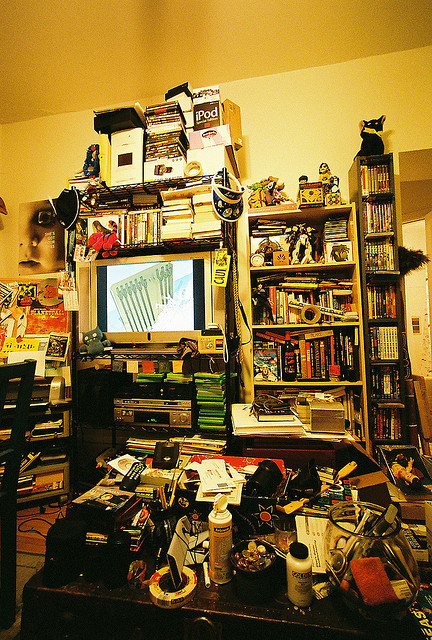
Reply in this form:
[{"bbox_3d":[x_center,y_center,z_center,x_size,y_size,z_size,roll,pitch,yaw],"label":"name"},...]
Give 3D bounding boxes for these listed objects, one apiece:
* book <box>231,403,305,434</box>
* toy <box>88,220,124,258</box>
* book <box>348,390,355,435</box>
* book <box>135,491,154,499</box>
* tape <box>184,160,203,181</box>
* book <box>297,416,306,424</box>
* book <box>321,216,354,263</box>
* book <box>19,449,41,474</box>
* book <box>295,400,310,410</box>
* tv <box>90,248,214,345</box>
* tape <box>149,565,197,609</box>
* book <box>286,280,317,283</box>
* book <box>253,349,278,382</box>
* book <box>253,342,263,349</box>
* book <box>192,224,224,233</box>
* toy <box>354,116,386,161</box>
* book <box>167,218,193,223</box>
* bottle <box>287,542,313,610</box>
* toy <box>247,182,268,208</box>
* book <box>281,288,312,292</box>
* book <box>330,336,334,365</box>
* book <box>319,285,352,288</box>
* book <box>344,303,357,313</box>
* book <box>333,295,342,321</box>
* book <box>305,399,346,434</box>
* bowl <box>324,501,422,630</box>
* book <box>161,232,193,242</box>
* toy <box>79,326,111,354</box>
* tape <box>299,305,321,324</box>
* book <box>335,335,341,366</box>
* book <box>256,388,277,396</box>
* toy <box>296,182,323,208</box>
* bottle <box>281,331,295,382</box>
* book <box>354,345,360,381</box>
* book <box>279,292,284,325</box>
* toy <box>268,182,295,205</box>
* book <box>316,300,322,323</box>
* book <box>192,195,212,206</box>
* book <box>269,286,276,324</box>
[{"bbox_3d":[0.216,0.448,2.360,0.291,0.068,0.410,-1,1,-3],"label":"book"},{"bbox_3d":[-0.544,-0.391,2.507,0.161,0.166,0.054,20,1,3],"label":"toy"},{"bbox_3d":[0.683,0.460,2.590,0.023,0.211,0.046,0,-1,-12],"label":"book"},{"bbox_3d":[-0.281,0.693,2.032,0.045,0.010,0.042,2,-5,8],"label":"book"},{"bbox_3d":[-0.109,-0.719,2.453,0.087,0.082,0.046,-1,0,-1],"label":"tape"},{"bbox_3d":[0.386,0.453,2.336,0.012,0.047,0.052,2,4,-32],"label":"book"},{"bbox_3d":[0.644,-0.449,2.661,0.166,0.277,0.166,-1,29,20],"label":"book"},{"bbox_3d":[-0.913,0.704,2.551,0.027,0.094,0.069,38,-3,-33],"label":"book"},{"bbox_3d":[0.411,0.404,2.456,0.065,0.062,0.017,-4,-25,13],"label":"book"},{"bbox_3d":[-0.299,-0.100,2.472,0.443,0.326,0.134,-2,-6,11],"label":"tv"},{"bbox_3d":[-0.134,0.815,1.576,0.146,0.035,0.152,2,15,21],"label":"tape"},{"bbox_3d":[0.433,-0.198,2.616,0.146,0.015,0.034,-1,0,-2],"label":"book"},{"bbox_3d":[0.252,0.236,2.609,0.159,0.217,0.021,-1,-15,5],"label":"book"},{"bbox_3d":[0.213,0.131,2.641,0.048,0.032,0.012,-1,0,7],"label":"book"},{"bbox_3d":[-0.045,-0.425,2.386,0.135,0.032,0.011,0,0,12],"label":"book"},{"bbox_3d":[0.802,-0.953,2.659,0.141,0.266,0.223,-1,0,18],"label":"toy"},{"bbox_3d":[-0.170,-0.469,2.415,0.118,0.021,0.029,-1,0,-1],"label":"book"},{"bbox_3d":[0.255,0.760,1.532,0.090,0.173,0.069,0,0,-10],"label":"bottle"},{"bbox_3d":[0.219,-0.648,2.683,0.132,0.148,0.110,-1,-2,6],"label":"toy"},{"bbox_3d":[0.408,-0.155,2.628,0.153,0.022,0.044,-1,0,6],"label":"book"},{"bbox_3d":[0.579,0.156,2.578,0.023,0.183,0.138,-1,2,13],"label":"book"},{"bbox_3d":[0.604,-0.172,2.615,0.161,0.015,0.045,0,0,18],"label":"book"},{"bbox_3d":[0.671,-0.059,2.576,0.048,0.042,0.005,-4,-19,24],"label":"book"},{"bbox_3d":[0.603,-0.057,2.582,0.066,0.119,0.124,0,3,13],"label":"book"},{"bbox_3d":[0.480,0.426,2.265,0.142,0.125,0.141,-1,0,3],"label":"book"},{"bbox_3d":[0.451,0.728,1.541,0.224,0.288,0.235,-1,0,0],"label":"bowl"},{"bbox_3d":[-0.183,-0.393,2.417,0.145,0.029,0.039,0,0,17],"label":"book"},{"bbox_3d":[-0.579,0.096,2.492,0.109,0.112,0.040,-9,-28,-3],"label":"toy"},{"bbox_3d":[0.464,-0.029,2.555,0.104,0.093,0.055,-1,0,11],"label":"tape"},{"bbox_3d":[0.604,0.150,2.577,0.019,0.150,0.030,0,-1,-40],"label":"book"},{"bbox_3d":[0.267,0.370,2.675,0.077,0.018,0.040,0,4,10],"label":"book"},{"bbox_3d":[0.462,-0.615,2.532,0.115,0.116,0.117,-1,-2,7],"label":"toy"},{"bbox_3d":[0.362,0.184,2.606,0.066,0.241,0.041,-1,-1,5],"label":"bottle"},{"bbox_3d":[0.688,0.207,2.526,0.011,0.169,0.056,0,0,-6],"label":"book"},{"bbox_3d":[0.333,-0.077,2.631,0.027,0.128,0.013,-1,-1,41],"label":"book"},{"bbox_3d":[0.320,-0.670,2.722,0.107,0.123,0.054,0,0,-37],"label":"toy"},{"bbox_3d":[0.508,-0.038,2.554,0.020,0.200,0.039,-7,-25,26],"label":"book"},{"bbox_3d":[-0.065,-0.559,2.407,0.076,0.042,0.051,1,-7,11],"label":"book"},{"bbox_3d":[0.289,-0.084,2.640,0.033,0.174,0.027,-1,-1,4],"label":"book"}]
